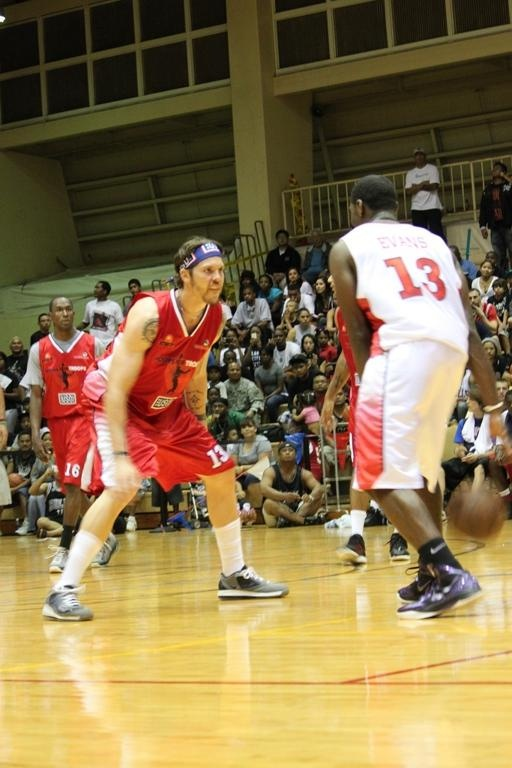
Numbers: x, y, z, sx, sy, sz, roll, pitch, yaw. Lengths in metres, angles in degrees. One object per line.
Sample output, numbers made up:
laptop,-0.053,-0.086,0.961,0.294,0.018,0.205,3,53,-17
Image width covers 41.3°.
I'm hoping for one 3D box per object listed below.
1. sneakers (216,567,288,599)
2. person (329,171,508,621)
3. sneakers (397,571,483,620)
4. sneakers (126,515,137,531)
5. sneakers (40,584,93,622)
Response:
sneakers,-0.030,0.926,3.219,0.368,0.165,0.133,-1,-6,12
person,0.576,0.075,2.308,0.546,1.371,0.276,-5,-8,-3
sneakers,0.583,0.677,2.200,0.266,0.167,0.093,-12,-10,40
sneakers,-1.698,1.875,9.139,0.091,0.147,0.159,0,-21,9
sneakers,-0.818,0.942,2.941,0.108,0.127,0.278,6,-8,-40
